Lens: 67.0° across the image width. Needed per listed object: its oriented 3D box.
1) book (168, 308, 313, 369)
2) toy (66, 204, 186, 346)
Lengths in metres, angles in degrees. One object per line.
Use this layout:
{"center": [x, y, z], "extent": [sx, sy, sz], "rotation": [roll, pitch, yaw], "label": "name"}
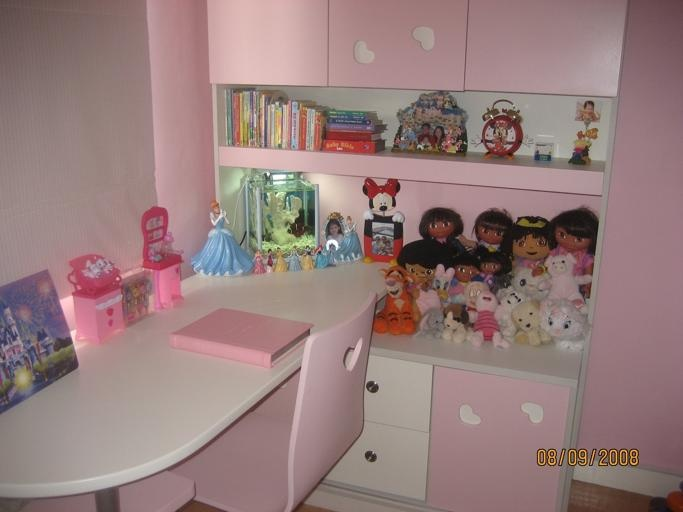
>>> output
{"center": [-0.333, 0.264, 1.732], "extent": [0.245, 0.047, 0.216], "rotation": [9, 17, 19], "label": "book"}
{"center": [-0.824, 0.079, 1.933], "extent": [0.141, 0.377, 0.396], "rotation": [6, 19, 18], "label": "toy"}
